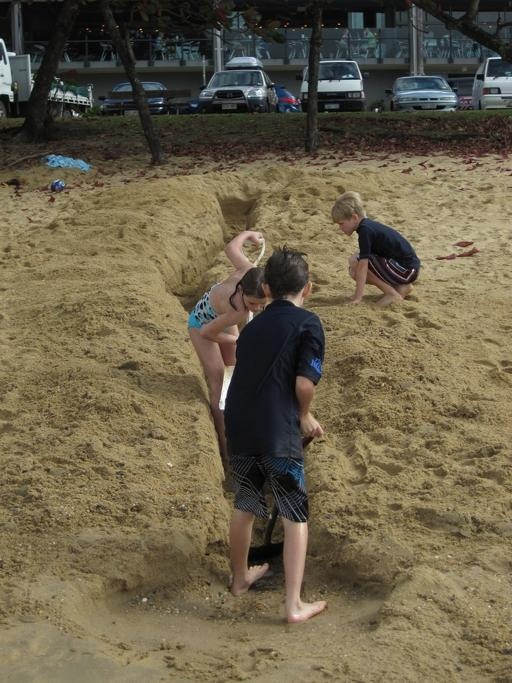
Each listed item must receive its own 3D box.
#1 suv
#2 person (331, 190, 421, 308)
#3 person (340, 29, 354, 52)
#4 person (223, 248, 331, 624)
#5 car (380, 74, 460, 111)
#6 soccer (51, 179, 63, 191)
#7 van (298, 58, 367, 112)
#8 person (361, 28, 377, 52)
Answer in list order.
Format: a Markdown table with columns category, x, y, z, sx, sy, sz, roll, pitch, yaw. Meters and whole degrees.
| category | x | y | z | sx | sy | sz | roll | pitch | yaw |
| --- | --- | --- | --- | --- | --- | --- | --- | --- | --- |
| suv | -0.473 | -6.634 | 18.445 | 2.030 | 1.417 | 3.011 | 0 | 11 | 6 |
| person | 1.046 | -0.811 | 6.328 | 0.514 | 0.985 | 1.102 | 10 | 15 | 35 |
| person | 3.789 | -12.569 | 30.255 | 0.435 | 1.155 | 0.750 | 3 | 13 | 9 |
| person | 0.123 | 0.452 | 3.320 | 0.421 | 1.745 | 0.628 | -7 | 15 | -29 |
| car | 4.233 | -6.323 | 18.657 | 1.348 | 0.624 | 1.942 | 0 | 19 | 3 |
| soccer | -2.718 | -2.139 | 9.858 | 0.185 | 0.179 | 0.314 | -3 | 12 | -15 |
| van | 1.923 | -6.289 | 17.808 | 1.862 | 1.234 | 2.639 | 0 | 18 | 5 |
| person | 4.923 | -12.850 | 30.995 | 0.904 | 1.094 | 0.197 | -8 | 16 | -35 |
